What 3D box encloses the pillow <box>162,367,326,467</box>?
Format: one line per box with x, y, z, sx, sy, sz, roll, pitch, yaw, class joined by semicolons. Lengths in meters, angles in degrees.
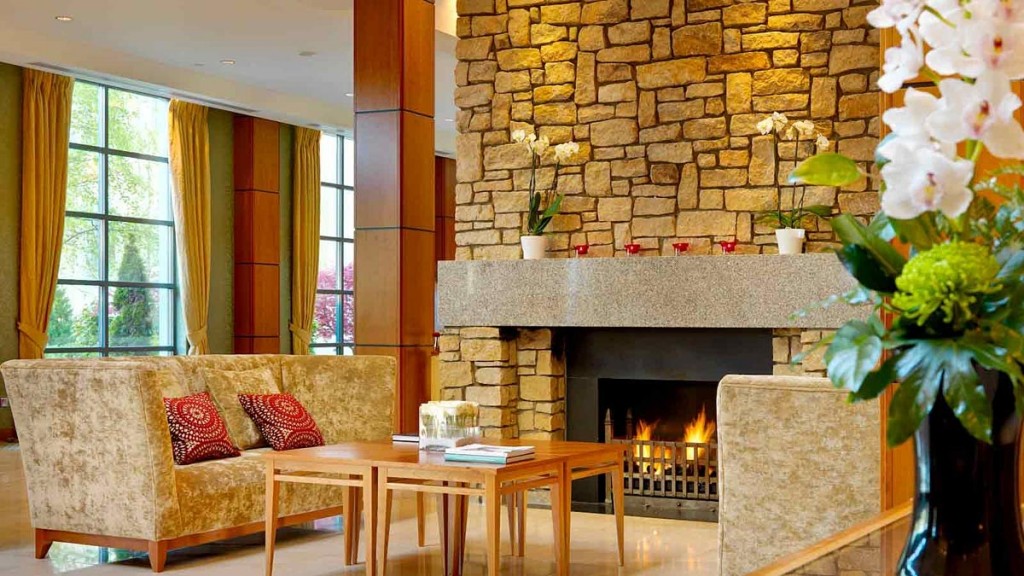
-1.789;0.795;5.517;0.868;0.558;0.227;-2;-23;-29;pillow

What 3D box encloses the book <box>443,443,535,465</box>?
-0.114;0.859;4.394;0.458;0.093;0.227;-2;-2;-2;book

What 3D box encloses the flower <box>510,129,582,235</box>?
0.287;-0.782;6.675;0.499;0.711;0.454;4;-3;14;flower

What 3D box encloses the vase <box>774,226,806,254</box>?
1.934;-0.332;5.985;0.210;0.145;0.188;-2;-5;27;vase

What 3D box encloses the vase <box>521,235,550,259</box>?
0.171;-0.304;6.574;0.208;0.183;0.287;-2;-1;4;vase
